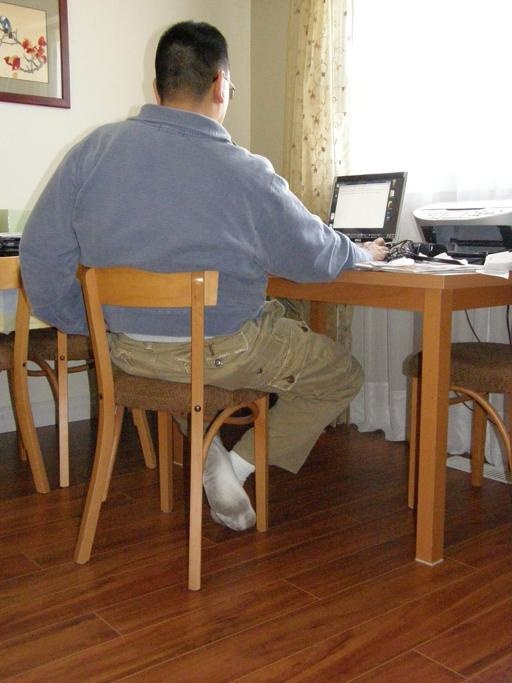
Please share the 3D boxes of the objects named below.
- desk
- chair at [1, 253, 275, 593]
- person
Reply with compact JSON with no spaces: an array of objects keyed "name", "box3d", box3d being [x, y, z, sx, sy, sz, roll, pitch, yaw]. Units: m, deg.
[{"name":"desk","box3d":[0.231,0.103,1.525,0.628,0.595,0.820,-5,7,-40]},{"name":"chair","box3d":[-0.283,0.205,1.446,0.669,0.628,0.381,10,15,37]},{"name":"person","box3d":[-0.102,-0.128,1.499,0.892,1.135,0.668,-1,10,-11]}]
